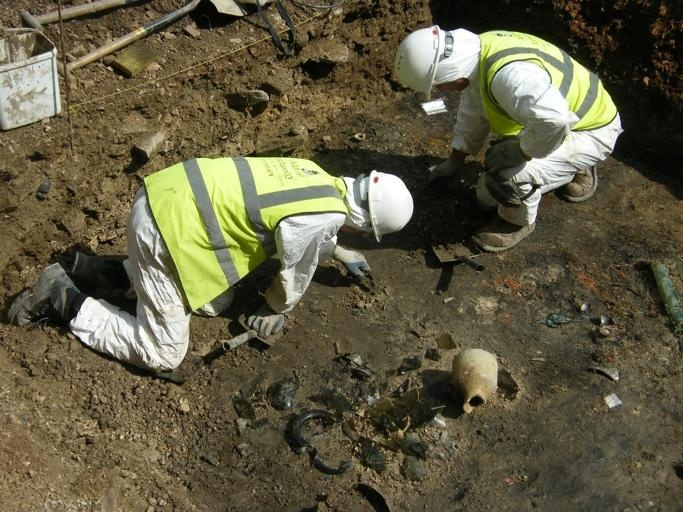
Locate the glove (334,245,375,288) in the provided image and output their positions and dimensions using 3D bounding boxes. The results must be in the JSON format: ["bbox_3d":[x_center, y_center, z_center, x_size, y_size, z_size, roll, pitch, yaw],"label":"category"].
[{"bbox_3d":[0.164,0.113,6.396,0.157,0.483,0.283,-10,46,44],"label":"glove"}]

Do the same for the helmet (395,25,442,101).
[{"bbox_3d":[0.714,-1.835,6.219,0.426,0.536,0.337,13,54,6],"label":"helmet"}]

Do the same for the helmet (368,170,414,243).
[{"bbox_3d":[0.435,-0.430,5.879,0.420,0.545,0.434,-1,68,9],"label":"helmet"}]

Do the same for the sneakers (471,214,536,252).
[{"bbox_3d":[1.614,-0.244,6.630,0.569,0.233,0.295,-27,60,-9],"label":"sneakers"}]
